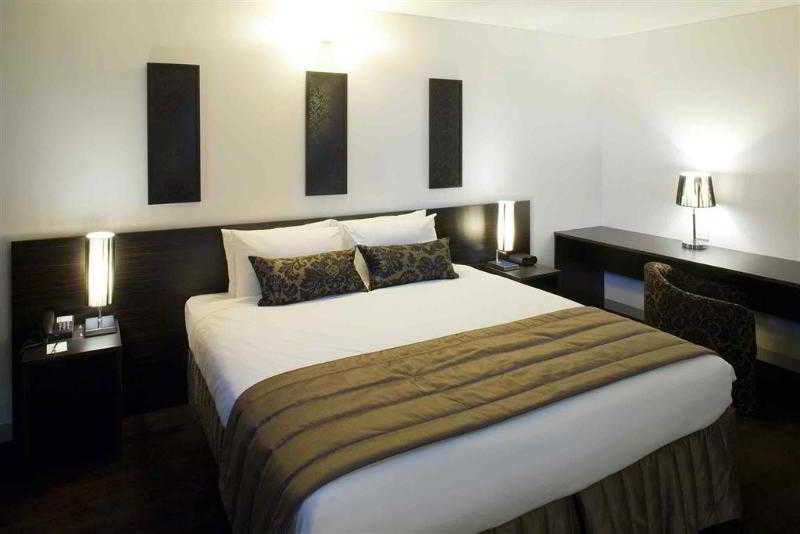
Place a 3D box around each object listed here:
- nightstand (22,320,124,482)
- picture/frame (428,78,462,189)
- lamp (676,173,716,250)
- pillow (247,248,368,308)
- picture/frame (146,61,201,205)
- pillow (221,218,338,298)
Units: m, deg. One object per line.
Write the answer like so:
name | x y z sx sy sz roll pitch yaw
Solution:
nightstand | -2.277 0.946 3.988 0.813 1.261 0.812 -2 7 -28
picture/frame | 0.447 -1.304 5.190 0.411 1.024 0.021 -8 10 -25
lamp | 2.922 -0.558 5.206 0.331 0.744 0.414 2 10 30
pillow | -0.721 0.073 4.144 0.909 0.401 0.381 -7 25 -24
picture/frame | -1.778 -1.047 4.163 0.473 1.057 0.027 -8 10 -25
pillow | -0.976 -0.047 4.227 0.615 0.381 0.177 -4 -28 -28
